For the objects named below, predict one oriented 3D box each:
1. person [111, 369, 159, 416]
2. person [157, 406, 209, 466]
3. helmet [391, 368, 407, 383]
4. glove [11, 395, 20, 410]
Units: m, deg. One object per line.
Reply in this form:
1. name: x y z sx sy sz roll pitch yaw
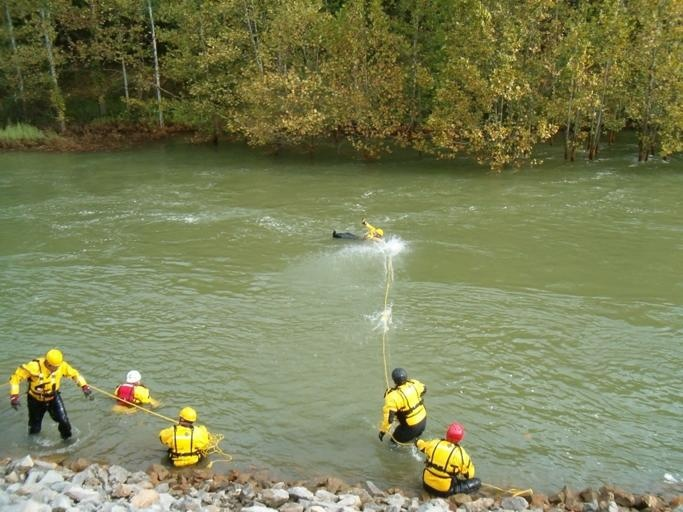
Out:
1. person: -8.381 5.468 25.978 1.719 1.614 0.566 -1 10 0
2. person: -5.747 6.626 23.570 1.641 2.194 0.471 -2 10 -4
3. helmet: 2.113 4.452 24.253 0.535 0.555 0.607 -2 21 -9
4. glove: -12.432 5.607 24.568 0.233 0.773 0.723 -6 10 -22
